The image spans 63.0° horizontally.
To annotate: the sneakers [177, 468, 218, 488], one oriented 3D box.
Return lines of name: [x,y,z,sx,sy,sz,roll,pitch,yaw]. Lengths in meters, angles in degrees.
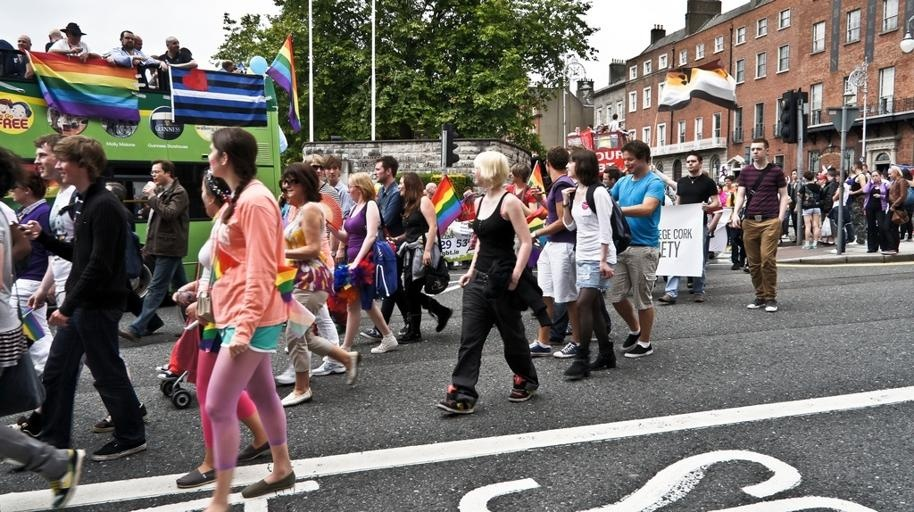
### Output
sneakers: [-2.772,2.351,7.989,0.518,0.191,0.204,3,-7,-25]

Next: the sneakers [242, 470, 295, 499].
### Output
sneakers: [-1.972,2.425,7.922,0.587,0.199,0.205,-3,-2,-14]

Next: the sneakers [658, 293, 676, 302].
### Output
sneakers: [3.860,0.783,13.769,0.365,0.148,0.128,7,-5,-18]

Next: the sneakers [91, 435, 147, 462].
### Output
sneakers: [-3.830,2.192,8.505,0.604,0.244,0.215,2,-3,-21]

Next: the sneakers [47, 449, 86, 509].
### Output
sneakers: [-3.947,2.243,7.596,0.304,0.680,0.238,11,-4,-39]

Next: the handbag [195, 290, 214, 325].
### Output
handbag: [-2.676,0.555,7.889,0.143,0.347,0.353,-5,6,-22]

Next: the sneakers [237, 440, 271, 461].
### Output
sneakers: [-2.245,2.192,8.393,0.152,0.149,0.424,-11,-8,42]

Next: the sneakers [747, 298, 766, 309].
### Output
sneakers: [5.152,0.824,12.905,0.376,0.153,0.124,1,2,7]

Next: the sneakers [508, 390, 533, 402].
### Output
sneakers: [0.818,1.769,9.388,0.325,0.139,0.119,5,-8,-23]
